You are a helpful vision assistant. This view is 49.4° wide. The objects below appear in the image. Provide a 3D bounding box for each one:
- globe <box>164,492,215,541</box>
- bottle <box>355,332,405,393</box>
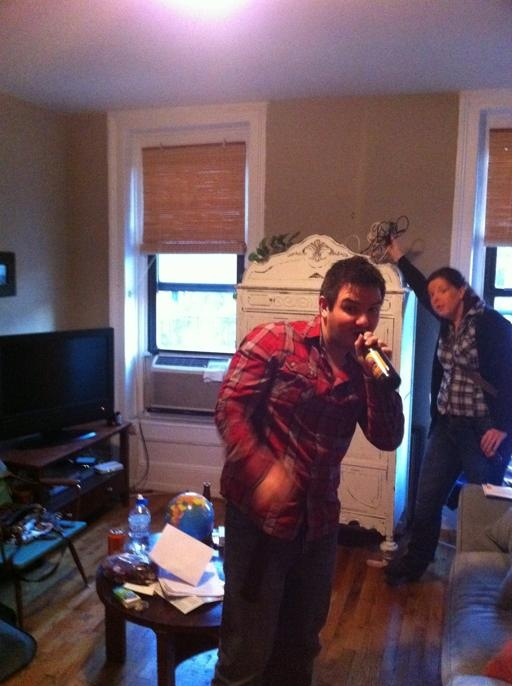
[{"bbox_3d":[-0.268,0.672,2.205,0.164,0.227,0.176,2,1,-10],"label":"globe"},{"bbox_3d":[0.229,0.037,1.051,0.057,0.093,0.180,-3,11,-7],"label":"bottle"}]
